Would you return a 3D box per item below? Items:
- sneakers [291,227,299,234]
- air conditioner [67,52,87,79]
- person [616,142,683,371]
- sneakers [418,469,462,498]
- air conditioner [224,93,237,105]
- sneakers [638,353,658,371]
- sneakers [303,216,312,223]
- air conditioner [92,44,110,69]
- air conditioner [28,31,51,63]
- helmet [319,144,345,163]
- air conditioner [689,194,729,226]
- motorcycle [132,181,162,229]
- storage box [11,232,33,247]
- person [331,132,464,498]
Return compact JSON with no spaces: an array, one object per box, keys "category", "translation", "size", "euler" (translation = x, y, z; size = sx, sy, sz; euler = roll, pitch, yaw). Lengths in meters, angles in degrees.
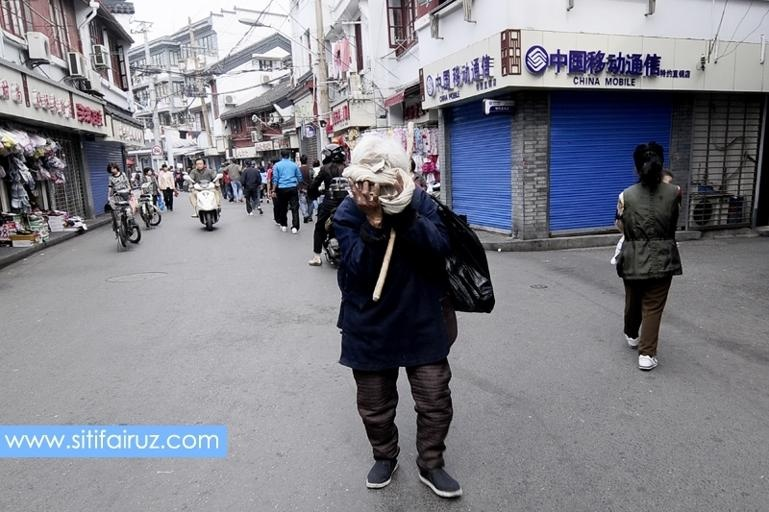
[{"category":"sneakers","translation":[-2.548,-0.731,14.668],"size":[0.160,0.192,0.449],"euler":[-1,4,-11]},{"category":"air conditioner","translation":[-11.053,-6.751,18.408],"size":[0.502,0.886,0.996],"euler":[-1,7,-7]},{"category":"person","translation":[2.860,-0.024,5.451],"size":[0.636,2.291,0.776],"euler":[-3,14,0]},{"category":"sneakers","translation":[0.417,1.663,3.834],"size":[0.157,0.122,0.330],"euler":[-8,11,-38]},{"category":"air conditioner","translation":[-14.937,-15.030,49.894],"size":[0.509,0.904,1.383],"euler":[1,14,17]},{"category":"sneakers","translation":[2.744,1.106,5.356],"size":[0.099,0.127,0.259],"euler":[4,13,32]},{"category":"sneakers","translation":[-2.521,-1.238,17.162],"size":[0.281,0.174,0.238],"euler":[-7,8,-30]},{"category":"air conditioner","translation":[-11.933,-8.295,21.630],"size":[0.624,0.924,1.807],"euler":[-10,15,-26]},{"category":"air conditioner","translation":[-10.110,-6.033,14.942],"size":[0.507,0.811,0.524],"euler":[-8,14,-19]},{"category":"helmet","translation":[-1.013,-1.981,10.073],"size":[0.413,0.346,0.349],"euler":[17,19,30]},{"category":"air conditioner","translation":[8.124,-1.131,13.089],"size":[1.188,0.836,0.672],"euler":[-2,10,-4]},{"category":"motorcycle","translation":[-8.151,-1.562,17.498],"size":[0.750,1.015,1.646],"euler":[-8,-6,-25]},{"category":"storage box","translation":[-9.281,-0.409,13.167],"size":[0.385,0.249,0.398],"euler":[0,2,32]},{"category":"person","translation":[0.087,0.448,3.732],"size":[0.890,2.613,0.491],"euler":[-2,14,7]}]
